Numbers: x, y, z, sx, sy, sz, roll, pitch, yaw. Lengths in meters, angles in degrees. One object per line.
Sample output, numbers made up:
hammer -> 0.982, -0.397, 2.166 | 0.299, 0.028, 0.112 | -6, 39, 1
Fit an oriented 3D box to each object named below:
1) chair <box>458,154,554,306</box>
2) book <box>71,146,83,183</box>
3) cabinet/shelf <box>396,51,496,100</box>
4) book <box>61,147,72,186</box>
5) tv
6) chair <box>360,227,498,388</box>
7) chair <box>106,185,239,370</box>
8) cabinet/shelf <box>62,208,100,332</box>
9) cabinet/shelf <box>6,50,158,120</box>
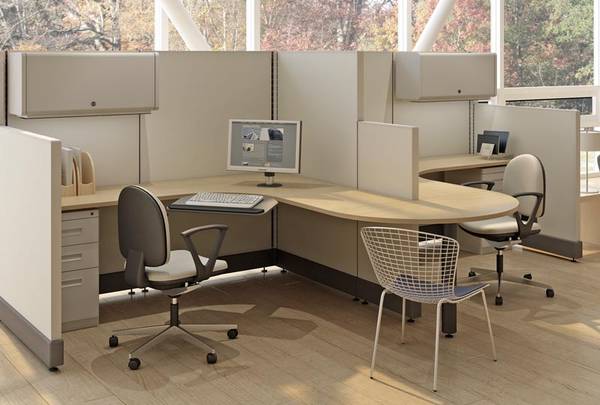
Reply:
chair -> 1.905, 0.195, 4.724 | 1.020, 1.242, 0.907 | -1, 8, 22
book -> -1.823, -0.298, 4.078 | 0.045, 0.376, 0.319 | -4, 3, -32
cabinet/shelf -> 1.670, -1.414, 5.672 | 1.252, 0.497, 0.432 | -8, 15, -29
book -> -1.853, -0.287, 3.964 | 0.047, 0.402, 0.340 | 0, 4, -34
tv -> -0.322, -0.455, 4.541 | 0.807, 0.591, 0.263 | 1, -1, 11
chair -> 0.993, 0.720, 3.825 | 0.995, 1.059, 0.945 | -1, 0, 24
chair -> -0.884, 0.504, 3.692 | 0.969, 1.097, 0.918 | 2, -4, -35
cabinet/shelf -> -1.717, 0.538, 3.917 | 0.346, 0.942, 0.115 | -7, 17, -19
cabinet/shelf -> -1.706, -0.974, 4.112 | 1.078, 0.492, 0.140 | -10, 18, -33
